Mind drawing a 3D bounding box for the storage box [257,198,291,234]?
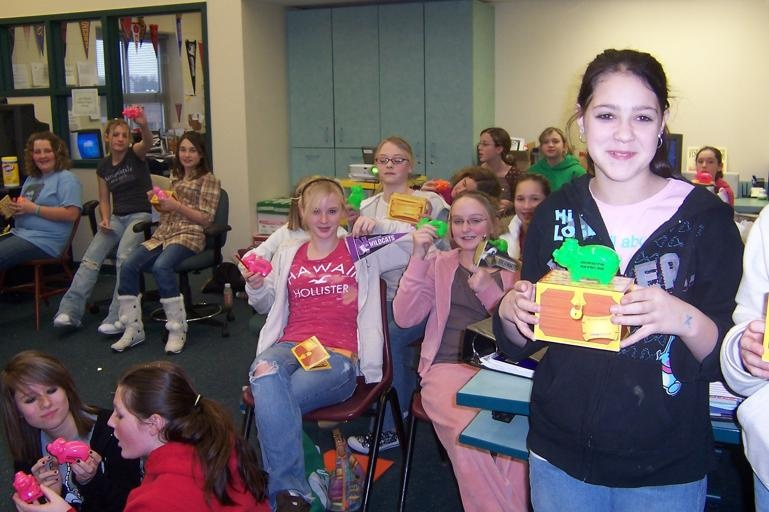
[{"bbox_3d":[-1.034,-0.421,6.131,0.476,0.339,0.483,4,9,23],"label":"storage box"}]

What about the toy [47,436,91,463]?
[{"bbox_3d":[-1.185,0.733,2.143,0.150,0.078,0.092,10,-28,-10],"label":"toy"}]

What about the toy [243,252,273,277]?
[{"bbox_3d":[-0.630,0.059,2.858,0.148,0.044,0.088,33,58,15],"label":"toy"}]

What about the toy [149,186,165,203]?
[{"bbox_3d":[-1.751,-0.475,4.440,0.112,0.150,0.064,-6,-30,10],"label":"toy"}]

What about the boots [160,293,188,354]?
[{"bbox_3d":[-1.623,0.506,4.420,0.171,0.391,0.377,-5,12,-21],"label":"boots"}]

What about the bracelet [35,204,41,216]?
[{"bbox_3d":[-2.922,-0.378,4.806,0.074,0.071,0.019,2,-6,0],"label":"bracelet"}]

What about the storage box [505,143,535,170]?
[{"bbox_3d":[1.300,-0.908,5.432,0.290,0.281,0.289,-1,4,3],"label":"storage box"}]

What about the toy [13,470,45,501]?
[{"bbox_3d":[-1.237,0.807,1.973,0.086,0.110,0.052,0,11,0],"label":"toy"}]

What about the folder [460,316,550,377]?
[{"bbox_3d":[0.430,0.360,2.127,0.245,0.103,0.247,13,20,36],"label":"folder"}]

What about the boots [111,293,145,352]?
[{"bbox_3d":[-1.983,0.507,4.384,0.251,0.402,0.158,-10,15,-39],"label":"boots"}]

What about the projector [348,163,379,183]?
[{"bbox_3d":[-0.162,-0.812,5.646,0.380,0.183,0.303,3,12,11],"label":"projector"}]
